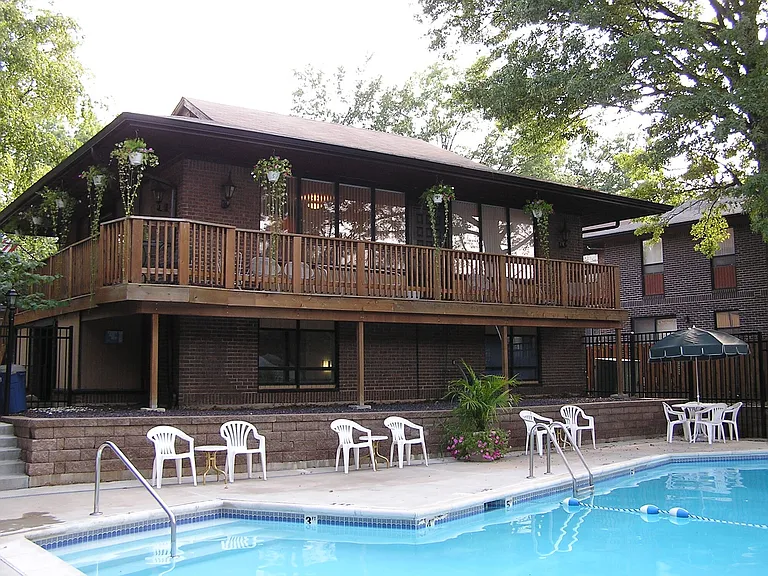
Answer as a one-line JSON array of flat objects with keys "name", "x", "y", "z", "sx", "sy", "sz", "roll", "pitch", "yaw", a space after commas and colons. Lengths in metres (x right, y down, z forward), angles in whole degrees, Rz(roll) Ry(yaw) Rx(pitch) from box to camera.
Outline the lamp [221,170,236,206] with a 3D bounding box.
[{"name": "lamp", "x": -3.753, "y": -2.407, "z": 15.745, "sx": 0.392, "sy": 0.861, "sz": 0.373, "roll": 4, "pitch": -3, "yaw": -31}]

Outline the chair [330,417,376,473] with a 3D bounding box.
[{"name": "chair", "x": -0.494, "y": 3.102, "z": 12.867, "sx": 0.984, "sy": 1.321, "sz": 0.958, "roll": 7, "pitch": -17, "yaw": -31}]

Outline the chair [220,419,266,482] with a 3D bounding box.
[{"name": "chair", "x": -2.559, "y": 2.893, "z": 11.545, "sx": 0.822, "sy": 1.047, "sz": 0.869, "roll": -7, "pitch": -10, "yaw": 28}]

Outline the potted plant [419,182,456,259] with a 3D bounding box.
[{"name": "potted plant", "x": 1.531, "y": -2.056, "z": 18.197, "sx": 0.848, "sy": 1.881, "sz": 2.110, "roll": 2, "pitch": -3, "yaw": 7}]

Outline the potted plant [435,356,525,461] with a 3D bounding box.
[{"name": "potted plant", "x": 2.046, "y": 2.680, "z": 14.761, "sx": 2.034, "sy": 2.454, "sz": 1.903, "roll": 2, "pitch": -8, "yaw": -12}]

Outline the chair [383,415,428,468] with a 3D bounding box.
[{"name": "chair", "x": 0.521, "y": 3.137, "z": 13.331, "sx": 0.707, "sy": 0.917, "sz": 0.765, "roll": 0, "pitch": -2, "yaw": -4}]

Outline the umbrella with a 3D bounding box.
[{"name": "umbrella", "x": 8.570, "y": 2.154, "z": 17.730, "sx": 2.571, "sy": 2.368, "sz": 2.644, "roll": -6, "pitch": -8, "yaw": 41}]

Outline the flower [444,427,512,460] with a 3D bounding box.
[{"name": "flower", "x": 2.066, "y": 3.361, "z": 13.965, "sx": 0.792, "sy": 0.406, "sz": 0.813, "roll": -2, "pitch": -3, "yaw": -5}]

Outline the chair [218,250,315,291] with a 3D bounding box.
[{"name": "chair", "x": -2.596, "y": -0.360, "z": 14.372, "sx": 2.187, "sy": 0.787, "sz": 0.622, "roll": 5, "pitch": -4, "yaw": -35}]

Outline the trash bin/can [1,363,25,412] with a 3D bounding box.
[{"name": "trash bin/can", "x": -7.632, "y": 2.041, "z": 13.144, "sx": 0.370, "sy": 0.977, "sz": 0.834, "roll": 2, "pitch": -3, "yaw": -10}]

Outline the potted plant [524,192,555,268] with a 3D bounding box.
[{"name": "potted plant", "x": 4.712, "y": -1.812, "z": 19.814, "sx": 1.054, "sy": 2.378, "sz": 1.271, "roll": -5, "pitch": -27, "yaw": 6}]
